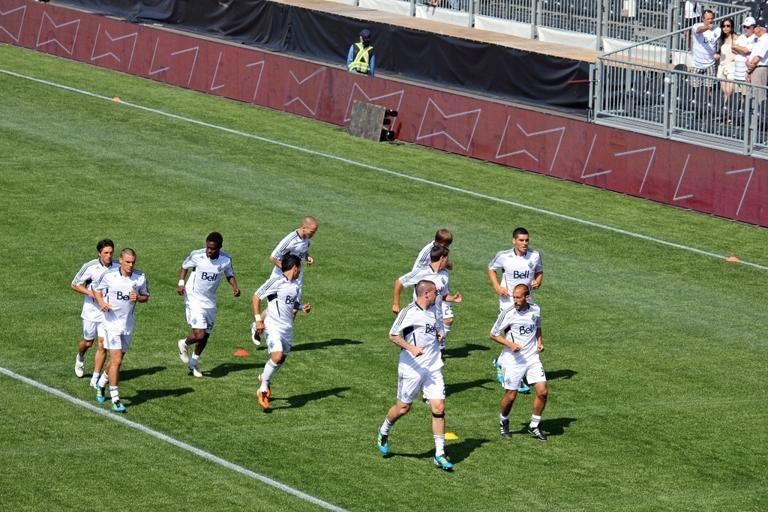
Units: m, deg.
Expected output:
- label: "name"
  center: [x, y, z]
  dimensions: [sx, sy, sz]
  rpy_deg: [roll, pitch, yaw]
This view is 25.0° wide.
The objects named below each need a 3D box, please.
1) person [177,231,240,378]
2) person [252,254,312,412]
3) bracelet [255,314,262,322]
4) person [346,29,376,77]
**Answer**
- label: "person"
  center: [-4.204, 1.076, 40.384]
  dimensions: [1.268, 3.333, 0.785]
  rpy_deg: [8, 7, -1]
- label: "person"
  center: [-2.466, 1.669, 39.550]
  dimensions: [1.096, 3.492, 1.375]
  rpy_deg: [7, 7, -3]
- label: "bracelet"
  center: [-2.887, 1.387, 39.371]
  dimensions: [0.135, 0.136, 0.133]
  rpy_deg: [-6, 11, 13]
- label: "person"
  center: [-0.726, -6.610, 56.250]
  dimensions: [0.858, 1.368, 1.621]
  rpy_deg: [7, 7, -1]
